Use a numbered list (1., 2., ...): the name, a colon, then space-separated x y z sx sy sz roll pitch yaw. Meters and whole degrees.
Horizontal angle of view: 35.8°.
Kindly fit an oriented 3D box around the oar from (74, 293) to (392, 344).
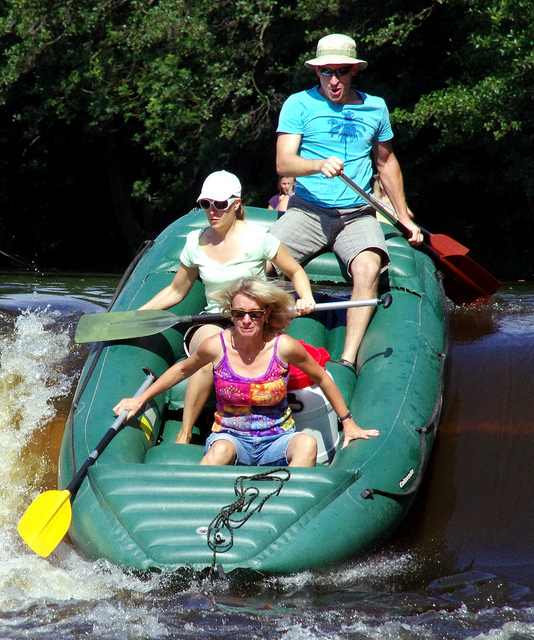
1. oar: -0.141 -0.003 4.025 1.564 0.140 0.187 -3 44 3

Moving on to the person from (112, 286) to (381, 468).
1. person: -0.033 0.289 3.666 1.475 0.913 0.755 0 1 -5
